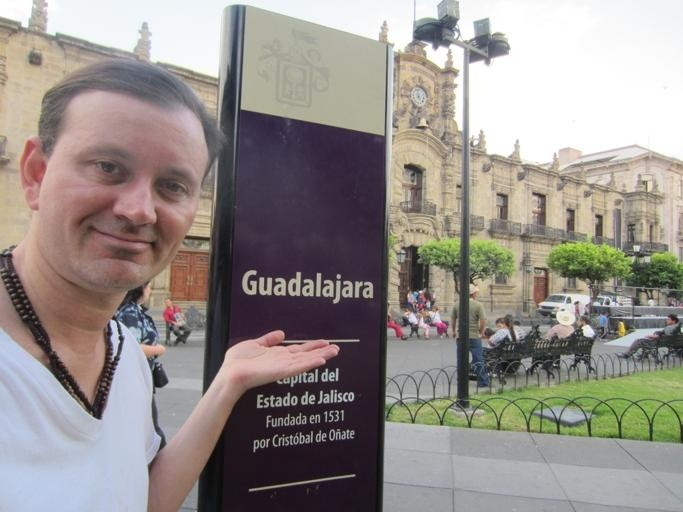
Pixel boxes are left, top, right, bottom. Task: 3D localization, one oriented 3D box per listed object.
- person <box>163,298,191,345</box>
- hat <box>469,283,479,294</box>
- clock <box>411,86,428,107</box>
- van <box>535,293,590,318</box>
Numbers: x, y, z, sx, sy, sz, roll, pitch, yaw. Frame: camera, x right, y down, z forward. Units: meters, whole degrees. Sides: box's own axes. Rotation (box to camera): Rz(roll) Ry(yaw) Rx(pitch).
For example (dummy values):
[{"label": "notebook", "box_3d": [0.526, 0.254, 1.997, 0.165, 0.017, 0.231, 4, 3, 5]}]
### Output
[{"label": "person", "box_3d": [-3.481, 1.393, 12.850, 0.613, 0.972, 0.493, -3, 10, 28]}, {"label": "hat", "box_3d": [1.966, 0.489, 9.018, 0.175, 0.052, 0.172, -38, 19, -23]}, {"label": "clock", "box_3d": [3.867, -8.045, 30.819, 0.985, 0.986, 0.325, -9, 4, -45]}, {"label": "van", "box_3d": [9.555, 2.146, 26.314, 2.246, 1.059, 1.360, 7, -11, -31]}]
